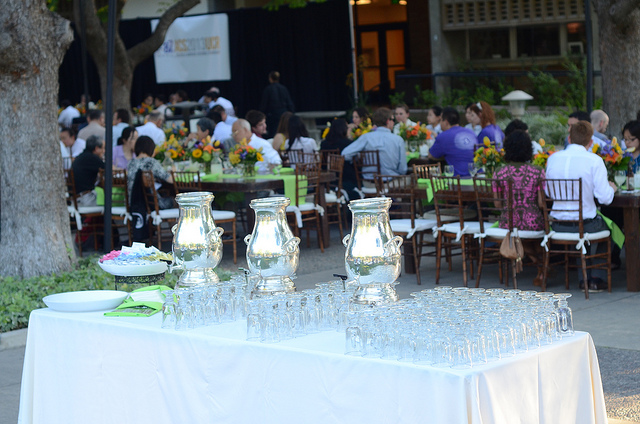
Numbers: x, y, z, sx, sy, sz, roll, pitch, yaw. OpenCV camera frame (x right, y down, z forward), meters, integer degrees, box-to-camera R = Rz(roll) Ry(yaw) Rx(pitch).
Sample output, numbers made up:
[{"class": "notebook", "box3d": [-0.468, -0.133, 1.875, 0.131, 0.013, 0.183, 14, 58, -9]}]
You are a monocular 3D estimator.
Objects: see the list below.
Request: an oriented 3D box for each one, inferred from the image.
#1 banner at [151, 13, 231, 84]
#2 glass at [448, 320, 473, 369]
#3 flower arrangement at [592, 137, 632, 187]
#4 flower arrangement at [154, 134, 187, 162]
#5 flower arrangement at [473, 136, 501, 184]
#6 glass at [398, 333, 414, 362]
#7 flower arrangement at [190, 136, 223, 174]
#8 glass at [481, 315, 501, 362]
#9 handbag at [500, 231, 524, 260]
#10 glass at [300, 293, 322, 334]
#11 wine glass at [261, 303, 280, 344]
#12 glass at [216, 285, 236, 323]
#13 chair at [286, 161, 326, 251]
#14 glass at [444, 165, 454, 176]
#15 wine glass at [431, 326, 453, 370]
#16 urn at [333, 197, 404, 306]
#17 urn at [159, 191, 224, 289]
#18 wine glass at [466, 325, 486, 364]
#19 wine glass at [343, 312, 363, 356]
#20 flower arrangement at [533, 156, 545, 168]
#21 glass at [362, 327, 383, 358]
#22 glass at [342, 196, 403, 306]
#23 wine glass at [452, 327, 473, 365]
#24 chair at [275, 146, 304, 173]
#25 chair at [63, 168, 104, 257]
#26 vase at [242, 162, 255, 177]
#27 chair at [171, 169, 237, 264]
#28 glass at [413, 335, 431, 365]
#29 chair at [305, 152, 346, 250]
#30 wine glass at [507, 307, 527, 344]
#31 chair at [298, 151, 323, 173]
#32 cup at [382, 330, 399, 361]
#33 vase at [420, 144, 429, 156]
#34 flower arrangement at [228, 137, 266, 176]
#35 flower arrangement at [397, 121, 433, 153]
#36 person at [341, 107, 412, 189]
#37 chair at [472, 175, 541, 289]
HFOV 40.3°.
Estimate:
[{"class": "banner", "box3d": [-3.214, -4.151, 22.259, 1.925, 1.758, 0.925, 0, 12, 4]}, {"class": "glass", "box3d": [0.911, 0.864, 5.640, 0.144, 0.229, 0.233, 1, 13, 9]}, {"class": "flower arrangement", "box3d": [3.371, -0.565, 10.180, 0.501, 0.563, 0.493, 1, -6, -37]}, {"class": "flower arrangement", "box3d": [-2.130, -0.905, 12.459, 0.345, 0.400, 0.290, -4, -3, -18]}, {"class": "flower arrangement", "box3d": [1.974, -0.656, 10.804, 0.414, 0.642, 0.462, -2, -1, -8]}, {"class": "glass", "box3d": [0.557, 0.874, 5.670, 0.102, 0.169, 0.051, 0, 12, 7]}, {"class": "flower arrangement", "box3d": [-1.662, -0.814, 12.498, 0.412, 0.472, 0.417, -8, 1, -30]}, {"class": "glass", "box3d": [1.114, 0.839, 5.697, 0.194, 0.251, 0.209, -2, 3, 13]}, {"class": "handbag", "box3d": [2.142, 0.369, 9.777, 0.142, 0.310, 0.244, -7, 10, -42]}, {"class": "glass", "box3d": [-0.054, 0.726, 6.129, 0.188, 0.380, 0.202, 0, -2, -10]}, {"class": "wine glass", "box3d": [-0.334, 0.768, 5.995, 0.115, 0.240, 0.128, 9, 15, 40]}, {"class": "glass", "box3d": [-0.677, 0.685, 6.386, 0.174, 0.374, 0.188, 0, -3, -4]}, {"class": "chair", "box3d": [-0.308, -0.086, 12.365, 0.666, 1.204, 0.610, -3, 1, 39]}, {"class": "glass", "box3d": [1.638, -0.528, 11.172, 0.134, 0.174, 0.139, 4, 3, 44]}, {"class": "wine glass", "box3d": [0.777, 0.891, 5.602, 0.159, 0.324, 0.174, 0, -4, 9]}, {"class": "urn", "box3d": [0.342, 0.304, 6.268, 0.329, 0.835, 0.432, 2, -3, -33]}, {"class": "urn", "box3d": [-0.948, 0.214, 6.791, 0.384, 0.685, 0.335, -3, 12, -10]}, {"class": "wine glass", "box3d": [1.019, 0.876, 5.678, 0.161, 0.167, 0.176, -2, -14, 1]}, {"class": "wine glass", "box3d": [0.224, 0.807, 5.827, 0.117, 0.240, 0.205, -1, 12, 1]}, {"class": "flower arrangement", "box3d": [2.608, -0.598, 10.408, 0.111, 0.131, 0.125, 8, 18, 15]}, {"class": "glass", "box3d": [0.338, 0.860, 5.745, 0.153, 0.198, 0.161, -1, 3, -15]}, {"class": "glass", "box3d": [0.398, 0.284, 6.282, 0.324, 0.842, 0.373, 2, -3, -33]}, {"class": "wine glass", "box3d": [0.909, 0.876, 5.604, 0.110, 0.203, 0.097, 7, 14, 32]}, {"class": "chair", "box3d": [-0.438, -0.764, 12.963, 0.291, 0.559, 0.347, 5, 17, 17]}, {"class": "chair", "box3d": [-3.360, -0.044, 12.620, 0.588, 1.271, 0.569, -4, 3, -24]}, {"class": "vase", "box3d": [-0.980, -0.595, 12.085, 0.148, 0.197, 0.162, 3, 7, 12]}, {"class": "chair", "box3d": [-1.441, 0.040, 11.746, 0.648, 1.168, 0.648, 0, 2, -29]}, {"class": "glass", "box3d": [0.656, 0.885, 5.630, 0.112, 0.167, 0.077, 0, 12, 3]}, {"class": "chair", "box3d": [0.142, -0.371, 13.175, 0.627, 0.530, 1.548, -11, 13, 10]}, {"class": "wine glass", "box3d": [1.301, 0.778, 5.828, 0.122, 0.189, 0.094, -8, 14, -28]}, {"class": "chair", "box3d": [-0.164, -0.767, 13.318, 0.230, 0.339, 0.218, 3, 9, 10]}, {"class": "cup", "box3d": [0.457, 0.869, 5.724, 0.146, 0.191, 0.151, 0, 3, 0]}, {"class": "vase", "box3d": [1.698, -1.005, 14.279, 0.146, 0.186, 0.151, 0, 5, -22]}, {"class": "flower arrangement", "box3d": [-0.991, -0.744, 12.216, 0.416, 0.493, 0.420, -1, 3, 19]}, {"class": "flower arrangement", "box3d": [1.588, -1.264, 14.434, 0.470, 0.544, 0.490, 7, 9, 44]}, {"class": "person", "box3d": [0.891, -0.960, 13.616, 0.944, 1.625, 0.903, 10, 21, 19]}, {"class": "chair", "box3d": [2.058, 0.274, 10.169, 0.613, 1.164, 0.718, 0, -9, -3]}]
